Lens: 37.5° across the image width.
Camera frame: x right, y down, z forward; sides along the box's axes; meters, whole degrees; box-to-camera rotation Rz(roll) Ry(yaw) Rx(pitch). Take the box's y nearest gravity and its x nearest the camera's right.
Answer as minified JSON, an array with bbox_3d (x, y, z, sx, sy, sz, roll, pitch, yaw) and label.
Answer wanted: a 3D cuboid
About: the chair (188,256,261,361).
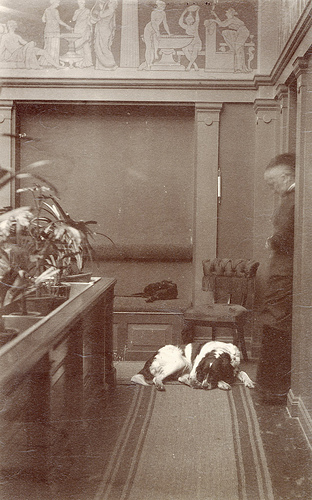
[{"bbox_3d":[0.160,0.144,1.117,0.167,0.216,0.161,-1,9,16],"label":"chair"}]

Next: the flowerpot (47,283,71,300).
[{"bbox_3d":[-0.238,0.102,1.127,0.038,0.026,0.038,5,1,37],"label":"flowerpot"}]

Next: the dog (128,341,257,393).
[{"bbox_3d":[0.085,0.293,1.162,0.225,0.070,0.170,4,4,22],"label":"dog"}]

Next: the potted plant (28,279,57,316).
[{"bbox_3d":[-0.274,0.127,1.174,0.082,0.077,0.071,1,-1,16],"label":"potted plant"}]

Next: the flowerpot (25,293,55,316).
[{"bbox_3d":[-0.286,0.134,1.131,0.055,0.037,0.053,1,1,-22],"label":"flowerpot"}]

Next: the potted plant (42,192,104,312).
[{"bbox_3d":[-0.229,0.000,1.124,0.161,0.238,0.140,19,8,42],"label":"potted plant"}]
